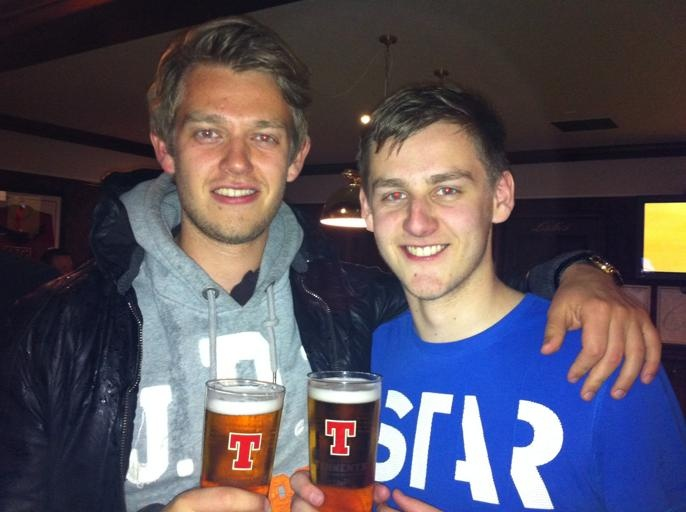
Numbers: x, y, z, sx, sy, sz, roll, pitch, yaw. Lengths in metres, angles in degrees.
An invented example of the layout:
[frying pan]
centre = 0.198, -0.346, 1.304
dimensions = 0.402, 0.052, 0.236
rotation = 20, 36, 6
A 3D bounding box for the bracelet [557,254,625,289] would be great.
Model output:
[bracelet]
centre = 1.081, 0.081, 2.571
dimensions = 0.192, 0.188, 0.063
rotation = 26, -56, -5

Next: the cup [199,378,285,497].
[cup]
centre = -0.330, 0.598, 1.938
dimensions = 0.266, 0.360, 0.190
rotation = 0, -7, 10
